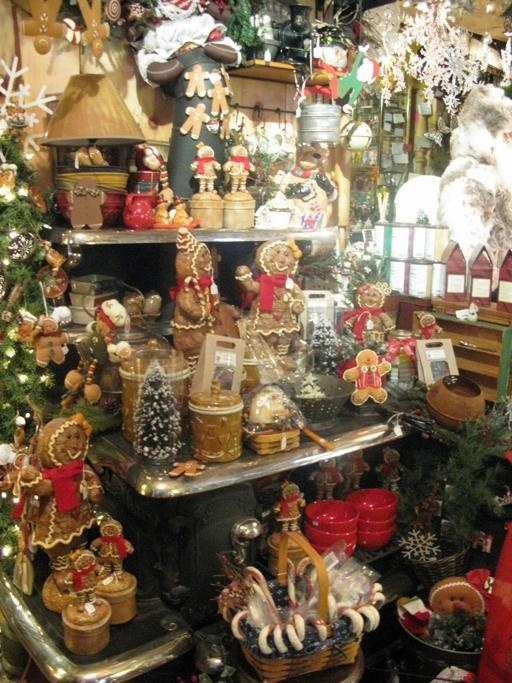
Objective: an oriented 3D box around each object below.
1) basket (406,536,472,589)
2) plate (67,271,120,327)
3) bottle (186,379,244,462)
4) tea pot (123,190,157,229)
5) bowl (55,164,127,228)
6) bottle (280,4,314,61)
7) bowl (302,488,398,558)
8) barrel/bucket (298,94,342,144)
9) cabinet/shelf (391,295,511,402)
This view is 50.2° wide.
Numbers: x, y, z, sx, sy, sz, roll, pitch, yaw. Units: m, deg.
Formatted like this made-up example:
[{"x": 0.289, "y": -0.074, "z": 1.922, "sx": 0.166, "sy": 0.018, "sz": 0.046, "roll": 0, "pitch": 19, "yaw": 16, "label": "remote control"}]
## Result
[{"x": 0.640, "y": 0.740, "z": 1.902, "sx": 0.166, "sy": 0.183, "sz": 0.115, "roll": 29, "pitch": 36, "yaw": -38, "label": "basket"}, {"x": -0.563, "y": -0.156, "z": 1.969, "sx": 0.172, "sy": 0.201, "sz": 0.223, "roll": 8, "pitch": 15, "yaw": 26, "label": "plate"}, {"x": -0.118, "y": 0.220, "z": 1.525, "sx": 0.166, "sy": 0.190, "sz": 0.157, "roll": 2, "pitch": 10, "yaw": -12, "label": "bottle"}, {"x": -0.375, "y": -0.420, "z": 1.766, "sx": 0.103, "sy": 0.117, "sz": 0.126, "roll": 13, "pitch": 17, "yaw": 35, "label": "tea pot"}, {"x": -0.514, "y": -0.448, "z": 1.702, "sx": 0.208, "sy": 0.157, "sz": 0.217, "roll": 0, "pitch": 9, "yaw": 0, "label": "bowl"}, {"x": 0.173, "y": -1.300, "z": 2.313, "sx": 0.158, "sy": 0.203, "sz": 0.221, "roll": -4, "pitch": 25, "yaw": -14, "label": "bottle"}, {"x": 0.333, "y": 0.596, "z": 1.914, "sx": 0.353, "sy": 0.146, "sz": 0.202, "roll": -1, "pitch": 2, "yaw": -35, "label": "bowl"}, {"x": 0.279, "y": -0.957, "z": 2.381, "sx": 0.184, "sy": 0.138, "sz": 0.184, "roll": 0, "pitch": 8, "yaw": 0, "label": "barrel/bucket"}, {"x": 0.816, "y": 0.041, "z": 2.224, "sx": 0.441, "sy": 0.350, "sz": 0.142, "roll": 11, "pitch": 13, "yaw": 43, "label": "cabinet/shelf"}]
